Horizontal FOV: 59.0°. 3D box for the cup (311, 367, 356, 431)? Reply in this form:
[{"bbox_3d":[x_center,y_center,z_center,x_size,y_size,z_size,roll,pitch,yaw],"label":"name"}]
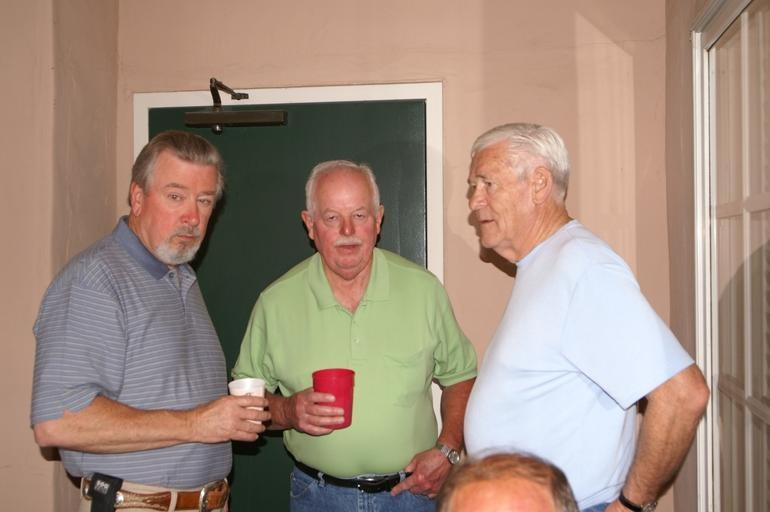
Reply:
[{"bbox_3d":[-0.196,0.600,2.905,0.221,0.259,0.235,-3,-3,0],"label":"cup"}]

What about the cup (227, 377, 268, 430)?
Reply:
[{"bbox_3d":[-0.578,0.621,2.912,0.166,0.144,0.182,-4,-20,-2],"label":"cup"}]
